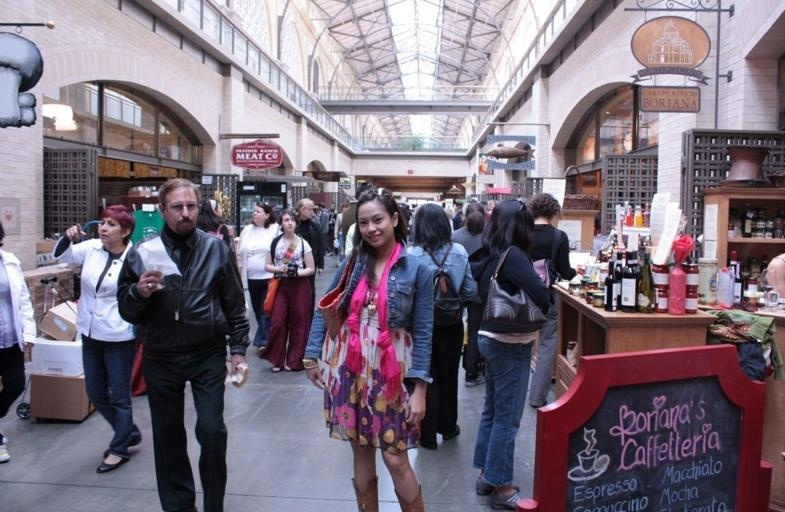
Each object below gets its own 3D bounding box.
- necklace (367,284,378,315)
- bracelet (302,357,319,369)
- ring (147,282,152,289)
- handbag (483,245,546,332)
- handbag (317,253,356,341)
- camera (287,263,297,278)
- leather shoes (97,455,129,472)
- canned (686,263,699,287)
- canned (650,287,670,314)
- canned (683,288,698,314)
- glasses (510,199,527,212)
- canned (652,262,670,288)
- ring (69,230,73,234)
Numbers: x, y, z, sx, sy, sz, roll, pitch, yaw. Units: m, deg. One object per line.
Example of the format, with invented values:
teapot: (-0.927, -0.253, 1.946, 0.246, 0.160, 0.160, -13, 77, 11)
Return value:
necklace: (-0.144, 0.309, 3.814, 0.103, 0.151, 0.145, 1, 1, -2)
bracelet: (-0.609, 0.778, 3.976, 0.091, 0.067, 0.074, -3, -7, 40)
ring: (-1.733, 0.205, 3.898, 0.025, 0.026, 0.045, 2, 8, -8)
handbag: (0.945, 0.271, 4.271, 0.470, 0.688, 0.305, 2, 4, 1)
handbag: (-0.412, 0.282, 3.888, 0.256, 0.516, 0.300, 6, 3, -31)
camera: (-1.257, 0.165, 6.973, 0.124, 0.167, 0.168, 3, 42, 1)
leather shoes: (-2.486, 1.842, 4.810, 0.089, 0.067, 0.237, -1, -1, 14)
canned: (2.421, 0.144, 4.417, 0.074, 0.179, 0.138, 4, 4, 33)
canned: (2.165, 0.356, 4.413, 0.172, 0.234, 0.148, -1, 0, 29)
canned: (2.408, 0.360, 4.397, 0.106, 0.196, 0.045, 1, 4, -16)
glasses: (1.031, -0.434, 4.521, 0.094, 0.132, 0.122, 16, 7, 31)
canned: (2.155, 0.139, 4.420, 0.149, 0.173, 0.155, 1, -5, -5)
ring: (-3.107, -0.239, 5.259, 0.032, 0.035, 0.009, -12, -2, 2)
